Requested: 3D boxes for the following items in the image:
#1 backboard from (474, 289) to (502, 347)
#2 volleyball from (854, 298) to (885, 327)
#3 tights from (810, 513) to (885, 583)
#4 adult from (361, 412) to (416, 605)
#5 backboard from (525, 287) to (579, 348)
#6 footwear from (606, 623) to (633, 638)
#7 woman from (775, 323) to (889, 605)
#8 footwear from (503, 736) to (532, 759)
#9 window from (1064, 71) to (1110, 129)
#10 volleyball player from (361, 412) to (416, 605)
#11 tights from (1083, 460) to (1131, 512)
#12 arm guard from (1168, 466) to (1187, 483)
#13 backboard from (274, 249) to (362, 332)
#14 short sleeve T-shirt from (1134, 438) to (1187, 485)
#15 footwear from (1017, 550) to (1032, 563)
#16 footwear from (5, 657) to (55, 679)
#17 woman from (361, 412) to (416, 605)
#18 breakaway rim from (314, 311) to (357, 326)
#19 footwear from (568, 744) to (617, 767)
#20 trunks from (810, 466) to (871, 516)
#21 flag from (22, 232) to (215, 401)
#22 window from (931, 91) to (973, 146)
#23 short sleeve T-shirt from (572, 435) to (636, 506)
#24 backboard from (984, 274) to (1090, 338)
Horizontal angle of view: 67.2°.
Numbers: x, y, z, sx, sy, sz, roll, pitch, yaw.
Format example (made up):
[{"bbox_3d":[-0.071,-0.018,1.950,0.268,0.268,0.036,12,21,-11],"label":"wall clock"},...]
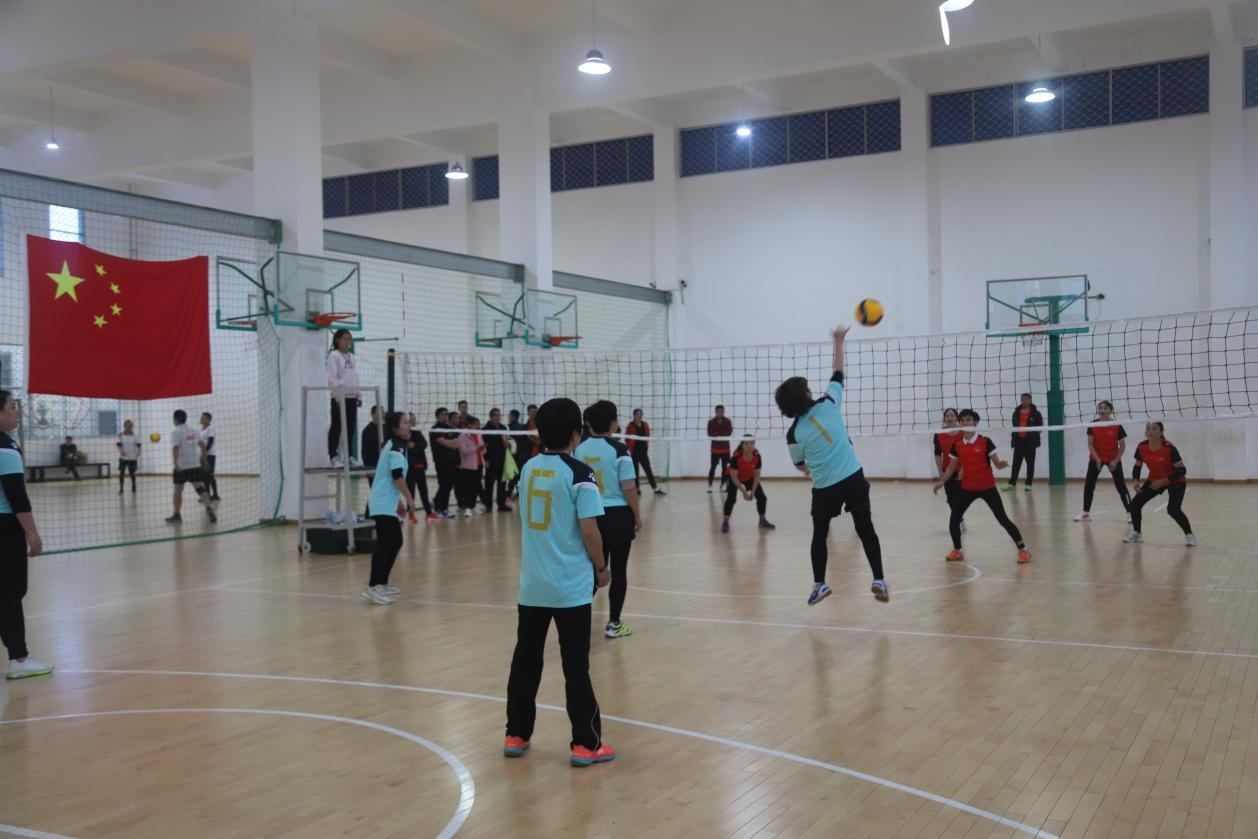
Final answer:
[{"bbox_3d":[-2.697,-1.949,18.245,0.630,0.845,0.299,-1,1,12],"label":"backboard"},{"bbox_3d":[2.341,-1.070,9.329,0.235,0.250,0.366,-1,0,13],"label":"volleyball"},{"bbox_3d":[2.390,1.438,10.419,0.873,0.962,0.318,-1,6,22],"label":"tights"},{"bbox_3d":[-2.596,0.905,10.186,0.507,1.737,0.817,-2,1,-15],"label":"adult"},{"bbox_3d":[-1.401,-1.984,18.538,0.697,1.087,1.471,-1,1,43],"label":"backboard"},{"bbox_3d":[-0.083,1.925,8.652,0.254,0.122,0.101,0,0,-28],"label":"footwear"},{"bbox_3d":[1.856,0.456,8.936,0.787,2.624,0.727,-19,-23,32],"label":"woman"},{"bbox_3d":[-0.783,2.245,6.474,0.083,0.096,0.223,1,-1,7],"label":"footwear"},{"bbox_3d":[9.497,-6.688,19.721,0.047,1.102,0.943,-32,29,-36],"label":"window"},{"bbox_3d":[-2.603,0.905,10.212,0.507,1.737,0.871,-2,1,-15],"label":"volleyball player"},{"bbox_3d":[7.003,0.993,13.926,0.691,0.320,1.565,-5,25,28],"label":"tights"},{"bbox_3d":[6.853,0.679,11.895,0.207,0.226,0.250,1,-5,-18],"label":"arm guard"},{"bbox_3d":[-4.607,-1.955,14.382,0.635,1.132,1.441,2,0,41],"label":"backboard"},{"bbox_3d":[6.812,0.504,12.152,0.601,0.607,0.732,-8,2,-31],"label":"short sleeve T-shirt"},{"bbox_3d":[4.656,1.597,11.202,0.136,0.138,0.248,-1,0,22],"label":"footwear"},{"bbox_3d":[-4.982,2.073,7.903,0.356,0.171,0.163,0,4,-28],"label":"footwear"},{"bbox_3d":[-2.599,0.906,10.199,0.507,1.737,0.843,-2,1,-15],"label":"woman"},{"bbox_3d":[-4.488,-1.559,14.441,0.644,0.200,0.278,-1,0,-36],"label":"breakaway rim"},{"bbox_3d":[-0.251,2.262,6.426,0.304,0.132,0.120,-4,2,-27],"label":"footwear"},{"bbox_3d":[1.928,0.655,8.696,0.483,0.275,0.381,-17,46,4],"label":"trunks"},{"bbox_3d":[-6.908,-1.350,12.917,0.054,2.041,2.569,2,2,32],"label":"flag"},{"bbox_3d":[7.082,-6.631,20.759,0.894,1.056,0.016,-9,20,-7],"label":"window"},{"bbox_3d":[-0.207,0.428,7.692,0.542,0.513,0.206,5,18,40],"label":"short sleeve T-shirt"},{"bbox_3d":[8.269,-2.320,19.264,1.965,1.164,1.000,2,14,35],"label":"backboard"}]
